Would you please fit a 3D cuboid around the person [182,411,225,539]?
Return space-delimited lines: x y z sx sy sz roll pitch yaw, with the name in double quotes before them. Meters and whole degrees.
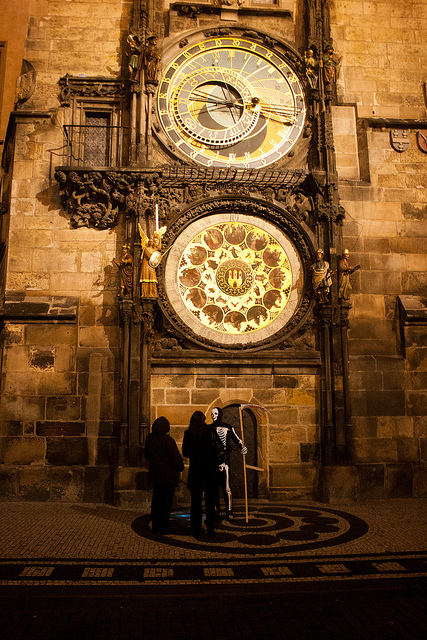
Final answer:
"person" -0.179 2.040 9.139 0.473 1.613 0.455 0 -6 -2
